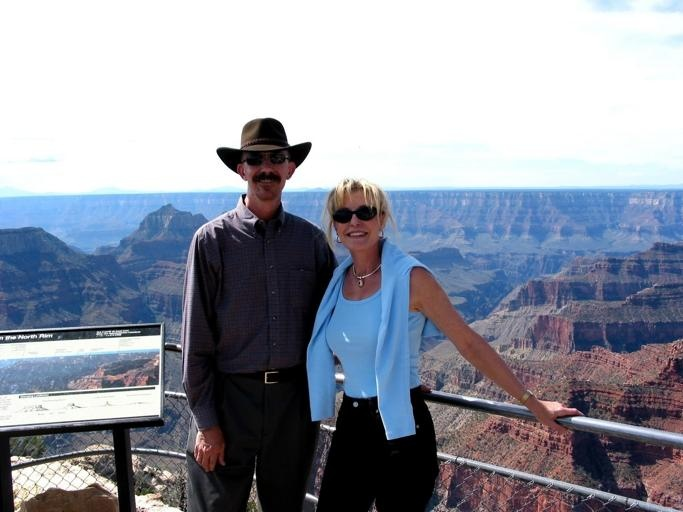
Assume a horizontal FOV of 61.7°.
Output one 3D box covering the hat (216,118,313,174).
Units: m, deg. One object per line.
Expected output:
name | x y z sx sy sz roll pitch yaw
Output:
hat | -0.495 -0.747 3.578 0.550 0.211 0.551 2 8 44

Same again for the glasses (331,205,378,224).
glasses | 0.073 -0.243 3.263 0.142 0.044 0.138 -3 -33 8

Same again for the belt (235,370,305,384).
belt | -0.412 0.699 3.353 0.370 0.080 0.060 -3 10 -15
